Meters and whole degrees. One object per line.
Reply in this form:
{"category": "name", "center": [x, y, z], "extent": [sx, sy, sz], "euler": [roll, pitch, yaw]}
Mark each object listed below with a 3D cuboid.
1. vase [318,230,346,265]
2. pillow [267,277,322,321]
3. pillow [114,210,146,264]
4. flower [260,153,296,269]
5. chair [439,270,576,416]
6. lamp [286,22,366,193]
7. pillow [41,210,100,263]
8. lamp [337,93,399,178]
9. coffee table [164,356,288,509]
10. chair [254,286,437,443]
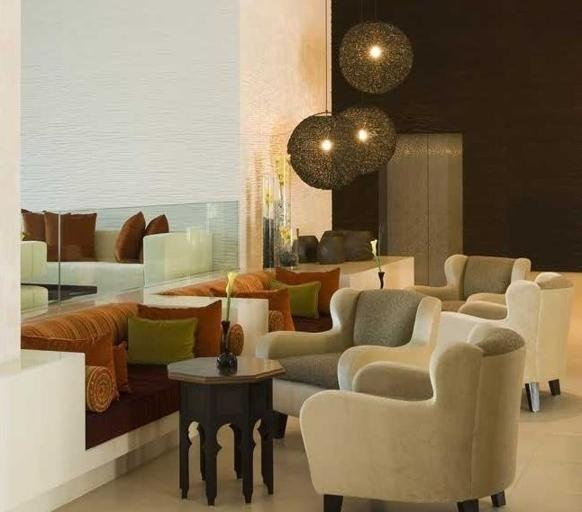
{"category": "vase", "center": [0.515, -0.071, 6.948], "extent": [0.268, 0.416, 0.540], "euler": [-1, 0, 17]}
{"category": "pillow", "center": [0.034, 0.383, 4.824], "extent": [0.292, 0.270, 0.117], "euler": [1, -32, 9]}
{"category": "pillow", "center": [-1.206, -0.143, 4.157], "extent": [0.146, 0.379, 0.285], "euler": [7, 13, 4]}
{"category": "flower", "center": [-0.111, -0.482, 6.128], "extent": [0.441, 1.232, 0.166], "euler": [-2, 3, -39]}
{"category": "chair", "center": [1.554, 0.486, 4.320], "extent": [1.074, 1.366, 0.897], "euler": [2, 2, 39]}
{"category": "lamp", "center": [0.294, -1.097, 5.498], "extent": [0.688, 1.470, 0.673], "euler": [2, 2, 29]}
{"category": "pillow", "center": [-1.436, -0.114, 3.637], "extent": [0.110, 0.360, 0.309], "euler": [2, 4, 35]}
{"category": "lamp", "center": [0.856, -1.298, 5.959], "extent": [0.638, 0.733, 0.876], "euler": [-19, -5, 1]}
{"category": "coffee table", "center": [-0.271, 0.838, 2.764], "extent": [0.523, 0.597, 0.568], "euler": [0, 2, 21]}
{"category": "chair", "center": [0.381, 0.486, 3.327], "extent": [0.840, 0.977, 0.897], "euler": [-3, -7, 44]}
